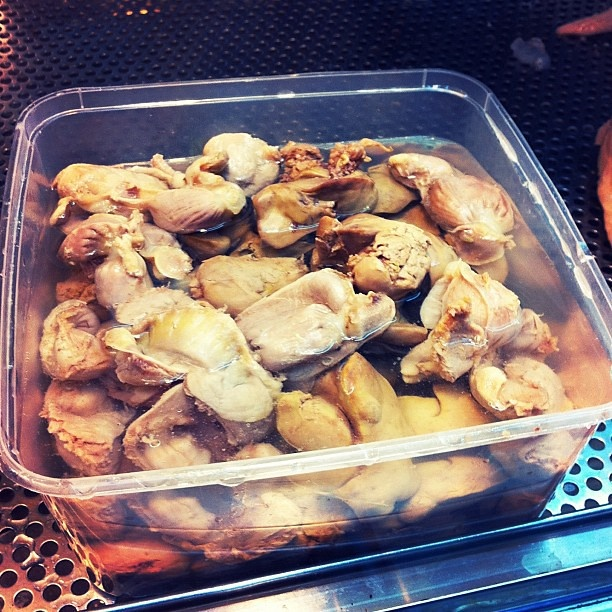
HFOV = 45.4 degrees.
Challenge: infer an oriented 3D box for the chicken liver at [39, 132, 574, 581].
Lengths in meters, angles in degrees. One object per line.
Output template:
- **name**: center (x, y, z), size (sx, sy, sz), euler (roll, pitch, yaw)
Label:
- **chicken liver**: center (-0.029, -0.048, 0.910), size (0.641, 0.117, 0.492), euler (-10, 57, -9)
